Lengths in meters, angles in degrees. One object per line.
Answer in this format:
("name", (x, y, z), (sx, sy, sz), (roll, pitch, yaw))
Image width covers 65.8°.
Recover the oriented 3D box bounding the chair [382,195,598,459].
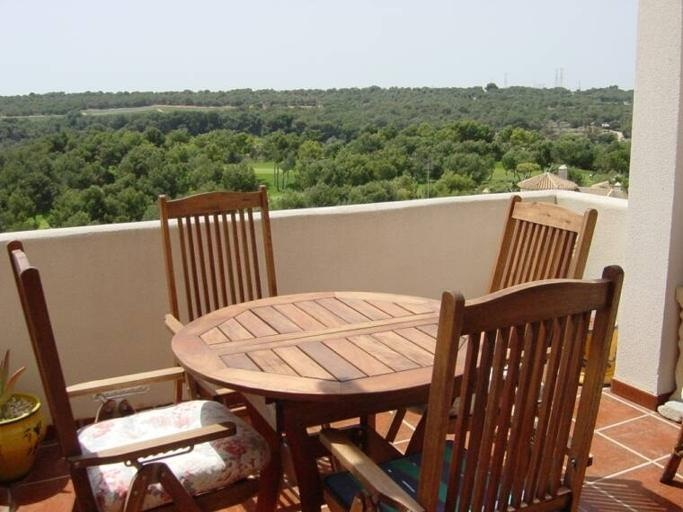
("chair", (0.754, 0.242, 2.307), (0.573, 0.887, 0.710), (6, 13, 14))
